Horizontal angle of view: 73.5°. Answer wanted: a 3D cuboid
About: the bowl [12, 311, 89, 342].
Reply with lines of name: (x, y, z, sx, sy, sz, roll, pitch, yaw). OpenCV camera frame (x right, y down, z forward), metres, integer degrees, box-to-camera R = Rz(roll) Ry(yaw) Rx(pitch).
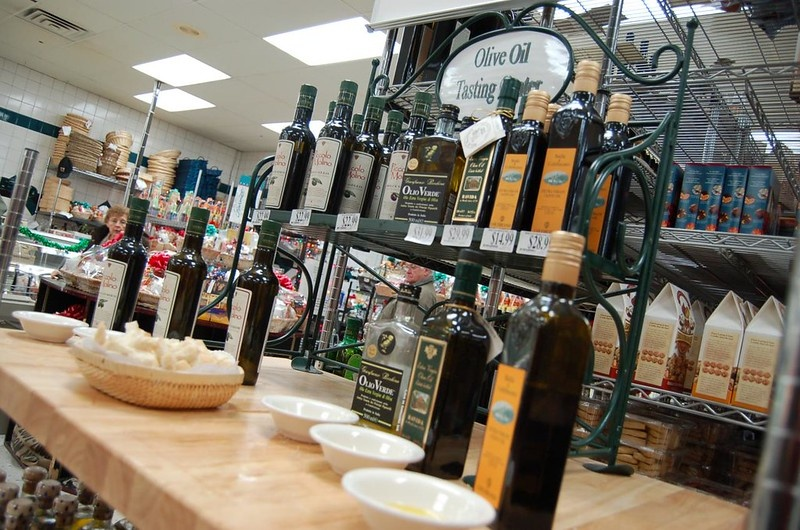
bowl: (-1.023, 0.179, 1.558, 0.150, 0.043, 0.154, 11, -3, 1)

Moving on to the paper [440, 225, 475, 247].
paper: (0.149, -0.074, 1.397, 0.101, 0.062, 0.055, 2, 0, 42)

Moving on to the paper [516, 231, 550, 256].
paper: (0.319, -0.050, 1.275, 0.064, 0.043, 0.002, 13, -11, 36)

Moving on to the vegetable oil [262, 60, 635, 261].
vegetable oil: (0.223, -0.272, 1.617, 0.934, 0.543, 0.467, 14, 4, 32)

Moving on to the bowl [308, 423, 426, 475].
bowl: (-0.090, 0.388, 1.117, 0.257, 0.074, 0.241, 9, -9, 1)

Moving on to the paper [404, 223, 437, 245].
paper: (0.058, -0.085, 1.443, 0.061, 0.040, 0.008, 10, -12, 45)

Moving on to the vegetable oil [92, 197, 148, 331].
vegetable oil: (-0.830, -0.001, 1.620, 0.111, 0.303, 0.232, 12, 4, -28)

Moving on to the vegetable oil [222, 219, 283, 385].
vegetable oil: (-0.416, 0.105, 1.578, 0.131, 0.458, 0.123, 14, 6, 1)

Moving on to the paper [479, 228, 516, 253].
paper: (0.247, -0.061, 1.334, 0.066, 0.043, 0.001, 12, -9, 36)
